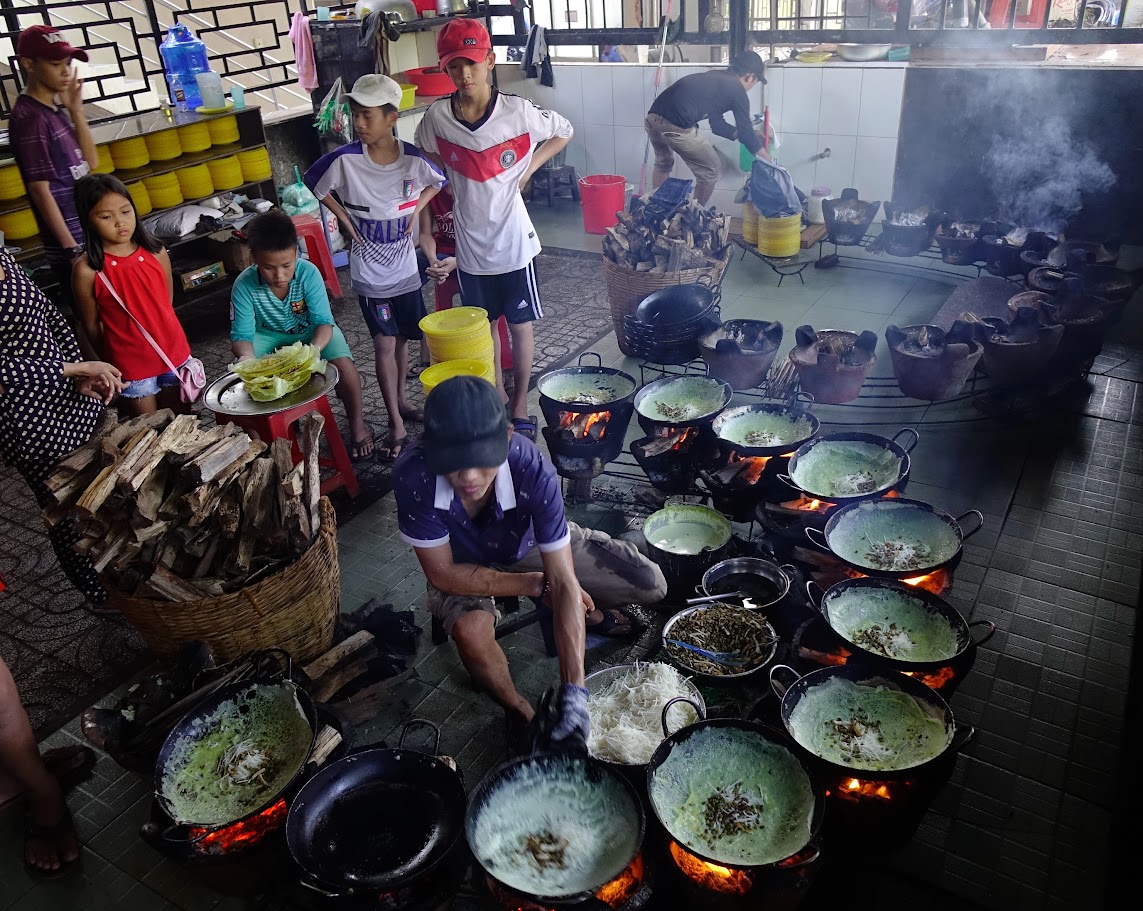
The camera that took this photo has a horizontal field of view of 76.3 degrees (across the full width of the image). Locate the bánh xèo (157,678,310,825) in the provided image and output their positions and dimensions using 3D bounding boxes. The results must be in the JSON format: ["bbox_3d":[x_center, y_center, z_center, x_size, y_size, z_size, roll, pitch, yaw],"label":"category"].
[{"bbox_3d":[-1.413,1.305,3.130,0.434,0.161,0.548,24,50,23],"label":"bánh xèo"}]

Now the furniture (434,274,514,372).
[{"bbox_3d":[-0.950,-1.235,6.363,0.728,1.020,0.782,-8,29,-11],"label":"furniture"}]

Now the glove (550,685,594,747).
[{"bbox_3d":[0.003,1.057,2.989,0.164,0.108,0.237,0,38,12],"label":"glove"}]

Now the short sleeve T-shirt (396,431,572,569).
[{"bbox_3d":[-0.503,0.208,3.642,0.988,0.580,1.011,5,-4,4],"label":"short sleeve T-shirt"}]

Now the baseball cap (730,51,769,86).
[{"bbox_3d":[1.993,-4.339,8.150,0.422,0.241,0.327,-14,53,-44],"label":"baseball cap"}]

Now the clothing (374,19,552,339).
[{"bbox_3d":[-0.614,-2.070,5.363,0.893,1.987,0.527,-7,29,-9],"label":"clothing"}]

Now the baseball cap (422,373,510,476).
[{"bbox_3d":[-0.427,-0.108,2.869,0.281,0.237,0.411,-6,54,-5],"label":"baseball cap"}]

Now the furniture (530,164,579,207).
[{"bbox_3d":[-0.262,-3.964,10.528,0.671,0.589,0.669,-31,47,-30],"label":"furniture"}]

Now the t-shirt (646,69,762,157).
[{"bbox_3d":[1.508,-3.953,8.037,1.218,0.810,0.866,16,23,-14],"label":"t-shirt"}]
